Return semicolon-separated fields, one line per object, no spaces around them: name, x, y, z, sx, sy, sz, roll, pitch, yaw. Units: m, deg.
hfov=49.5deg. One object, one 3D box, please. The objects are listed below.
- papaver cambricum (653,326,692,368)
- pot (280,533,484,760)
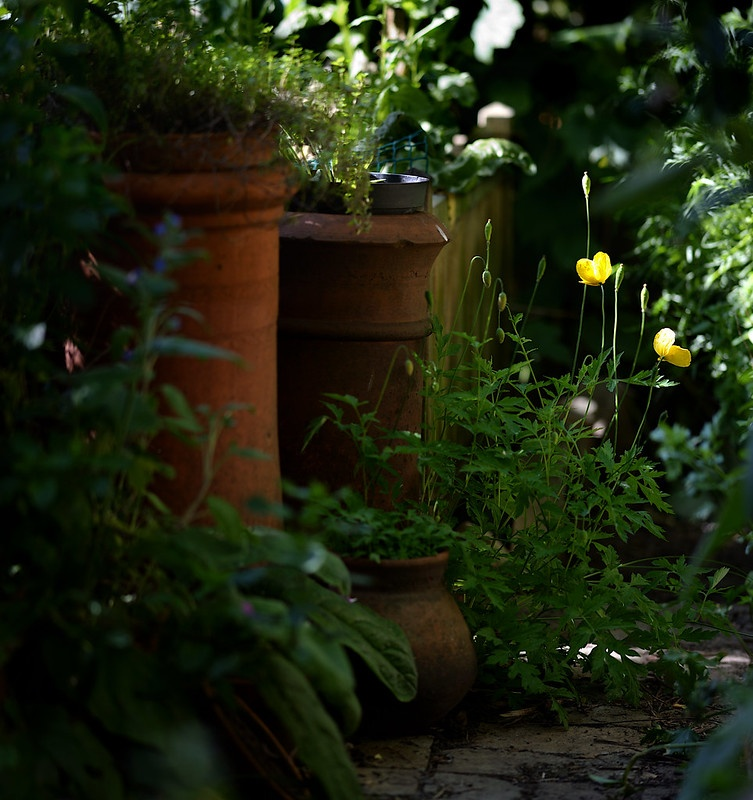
papaver cambricum;0.658;-0.119;1.823;0.070;0.081;0.194;1;3;19
pot;0.046;0.473;1.649;0.384;0.415;0.399;-2;-12;0
